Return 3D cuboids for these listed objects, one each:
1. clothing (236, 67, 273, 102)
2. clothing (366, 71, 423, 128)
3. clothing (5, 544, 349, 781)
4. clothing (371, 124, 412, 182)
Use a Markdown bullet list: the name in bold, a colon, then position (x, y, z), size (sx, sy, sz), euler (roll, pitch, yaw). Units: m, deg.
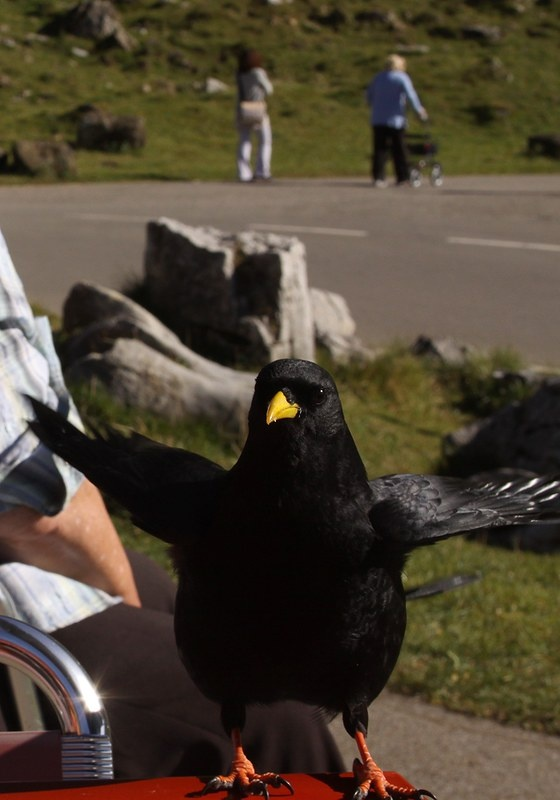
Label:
- **clothing**: position (-0.173, -2.019, 6.970), size (0.228, 0.223, 0.238), euler (8, 11, 3)
- **clothing**: position (0.742, -2.028, 7.254), size (0.465, 0.361, 0.269), euler (21, 32, 39)
- **clothing**: position (-0.148, 0.632, 2.428), size (0.630, 0.310, 0.569), euler (10, 11, 11)
- **clothing**: position (0.732, -1.701, 7.361), size (0.281, 0.488, 0.151), euler (-6, 11, -9)
